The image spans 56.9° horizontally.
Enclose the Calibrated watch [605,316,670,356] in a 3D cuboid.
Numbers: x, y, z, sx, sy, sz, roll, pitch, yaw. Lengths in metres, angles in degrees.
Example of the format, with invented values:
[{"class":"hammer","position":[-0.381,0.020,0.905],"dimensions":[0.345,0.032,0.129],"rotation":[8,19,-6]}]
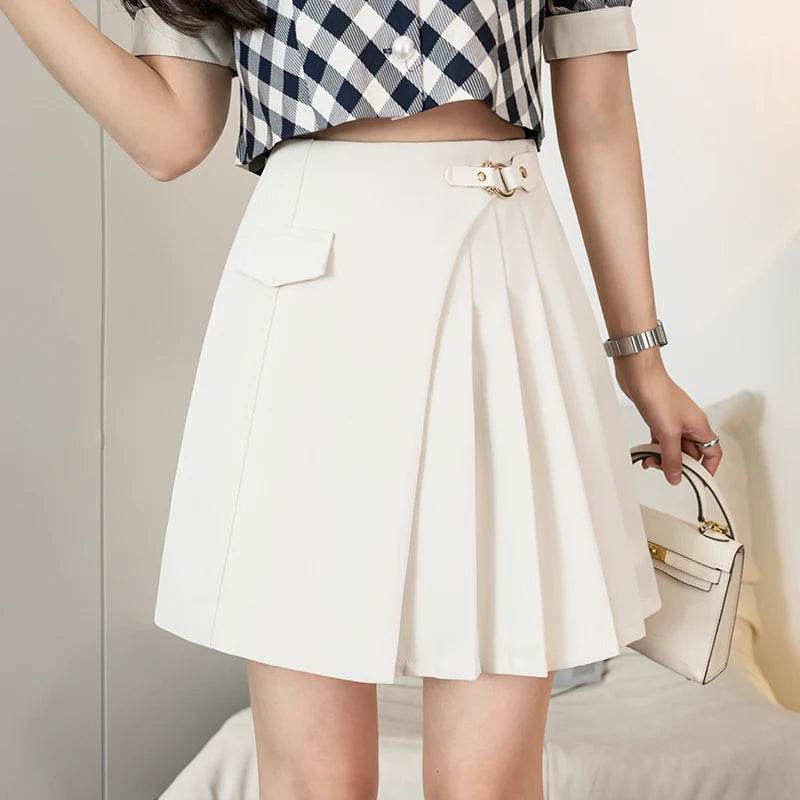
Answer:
[{"class":"Calibrated watch","position":[0.247,-0.057,0.792],"dimensions":[0.064,0.061,0.035],"rotation":[-10,90,9]}]
